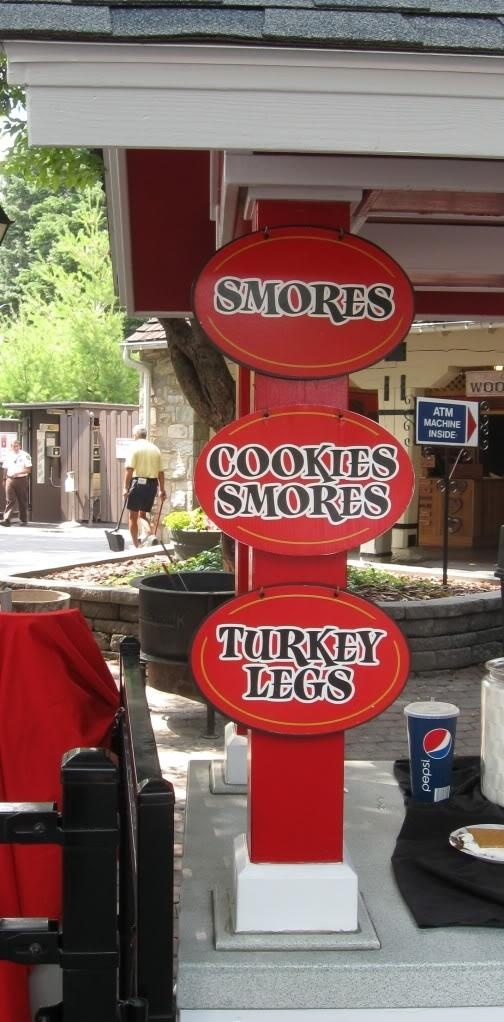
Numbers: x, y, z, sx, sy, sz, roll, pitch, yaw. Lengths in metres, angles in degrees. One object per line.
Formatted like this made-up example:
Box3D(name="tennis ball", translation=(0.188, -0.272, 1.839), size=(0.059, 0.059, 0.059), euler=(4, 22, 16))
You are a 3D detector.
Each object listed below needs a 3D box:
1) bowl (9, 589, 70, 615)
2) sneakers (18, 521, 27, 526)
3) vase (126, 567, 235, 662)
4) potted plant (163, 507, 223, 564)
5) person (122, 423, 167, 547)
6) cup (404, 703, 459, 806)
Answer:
Box3D(name="bowl", translation=(-0.747, 0.306, 3.225), size=(0.290, 0.046, 0.189), euler=(2, 5, 39))
Box3D(name="sneakers", translation=(-4.677, 0.252, 19.189), size=(0.196, 0.145, 0.068), euler=(6, 5, 4))
Box3D(name="vase", translation=(-0.456, 0.624, 6.023), size=(0.641, 0.427, 0.667), euler=(0, 5, -9))
Box3D(name="potted plant", translation=(-0.710, 0.264, 11.117), size=(0.599, 0.456, 0.625), euler=(-1, 2, -5))
Box3D(name="person", translation=(-1.486, -0.314, 12.902), size=(0.498, 1.703, 1.560), euler=(-1, 4, -7))
Box3D(name="cup", translation=(0.684, 0.928, 3.652), size=(0.303, 0.349, 0.317), euler=(0, -3, 0))
